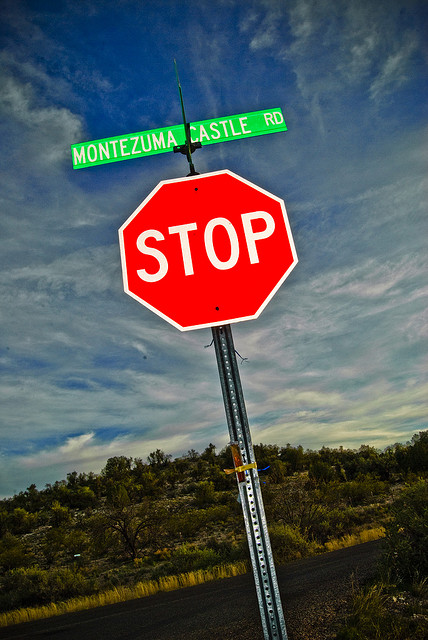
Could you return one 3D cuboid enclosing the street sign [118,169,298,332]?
[{"bbox_3d":[-0.117,-0.955,6.670,2.319,2.050,0.016,-18,-5,12],"label":"street sign"}]
